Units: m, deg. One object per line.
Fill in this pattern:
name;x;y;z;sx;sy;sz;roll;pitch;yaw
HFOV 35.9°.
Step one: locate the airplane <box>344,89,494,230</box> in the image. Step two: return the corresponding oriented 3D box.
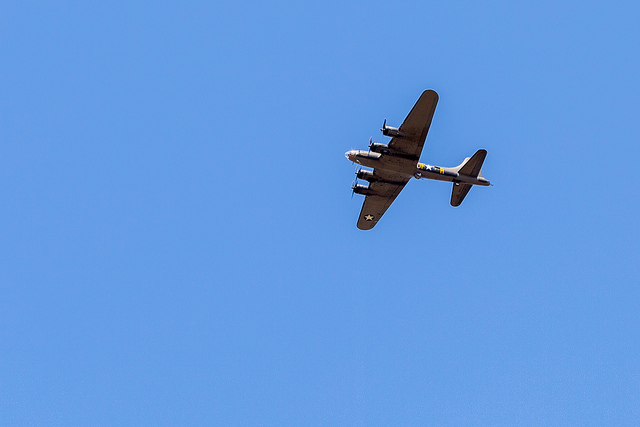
airplane;7.936;-3.933;86.060;10.757;3.723;14.464;8;-50;0
